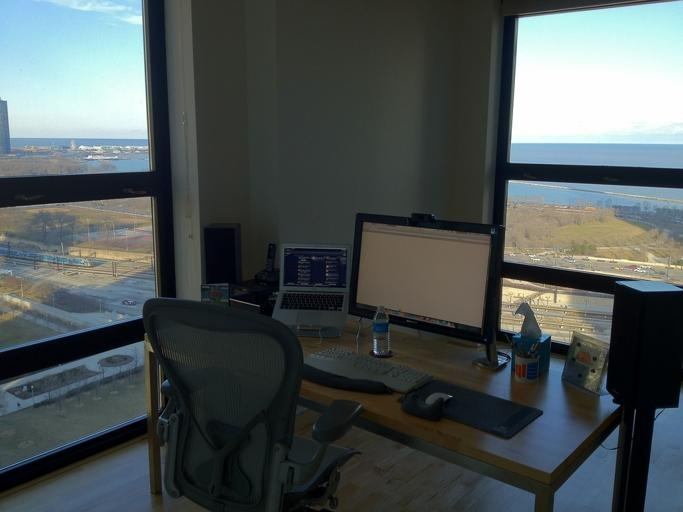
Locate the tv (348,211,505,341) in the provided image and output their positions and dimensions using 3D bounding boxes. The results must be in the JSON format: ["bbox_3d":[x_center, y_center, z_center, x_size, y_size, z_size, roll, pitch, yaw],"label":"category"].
[{"bbox_3d":[0.402,0.114,2.398,0.637,0.502,0.085,8,5,39],"label":"tv"}]

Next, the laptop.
[{"bbox_3d":[-0.149,0.156,2.812,0.523,0.528,0.418,5,13,12],"label":"laptop"}]

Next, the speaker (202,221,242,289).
[{"bbox_3d":[-0.809,-0.017,3.189,0.242,0.378,0.154,0,11,-5],"label":"speaker"}]

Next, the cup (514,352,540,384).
[{"bbox_3d":[0.804,0.491,2.092,0.108,0.114,0.105,-2,9,0],"label":"cup"}]
